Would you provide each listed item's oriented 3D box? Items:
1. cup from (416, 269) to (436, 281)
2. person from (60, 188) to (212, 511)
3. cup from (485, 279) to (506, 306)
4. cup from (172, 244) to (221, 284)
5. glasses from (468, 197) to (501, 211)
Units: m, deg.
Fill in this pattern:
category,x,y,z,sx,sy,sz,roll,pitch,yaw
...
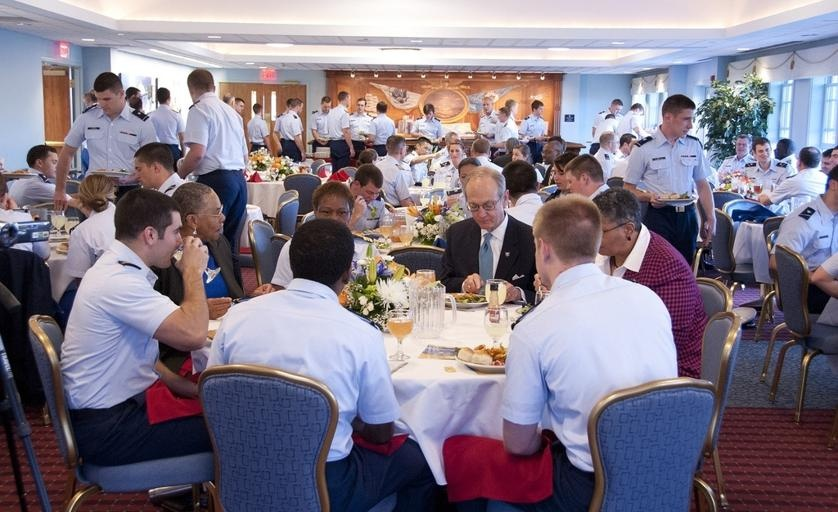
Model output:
category,x,y,z,sx,sy,sz,roll,pitch,yaw
cup,0.060,0.126,3.942,0.081,0.078,0.081,0,5,0
person,-1.567,0.657,3.816,1.128,1.960,0.850,-1,6,-36
cup,0.459,0.231,3.896,0.145,0.163,0.142,1,0,0
cup,-1.512,0.033,4.382,0.254,0.298,0.222,-14,-7,-30
glasses,0.467,-0.345,4.548,0.214,0.082,0.078,3,10,7
